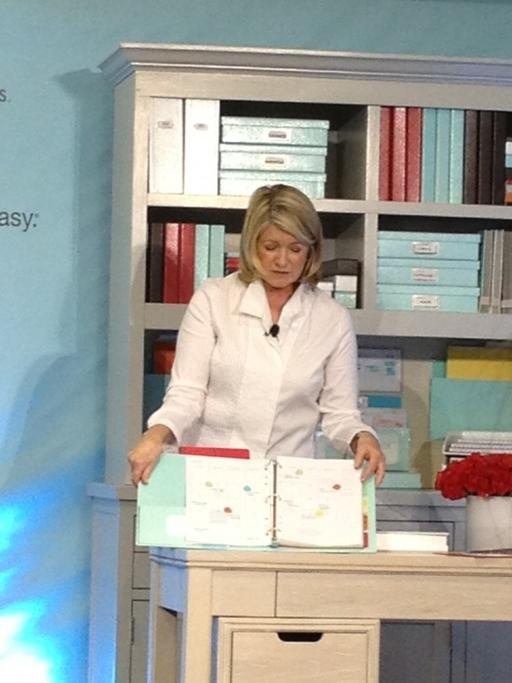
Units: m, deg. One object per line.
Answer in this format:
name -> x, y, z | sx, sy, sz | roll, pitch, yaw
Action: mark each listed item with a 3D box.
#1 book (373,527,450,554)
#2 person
book -> 0.390, 0.513, 3.540 | 0.217, 0.042, 0.190 | 1, -8, -3
person -> -0.013, -0.042, 3.552 | 0.612, 0.742, 0.442 | -1, 0, -10
